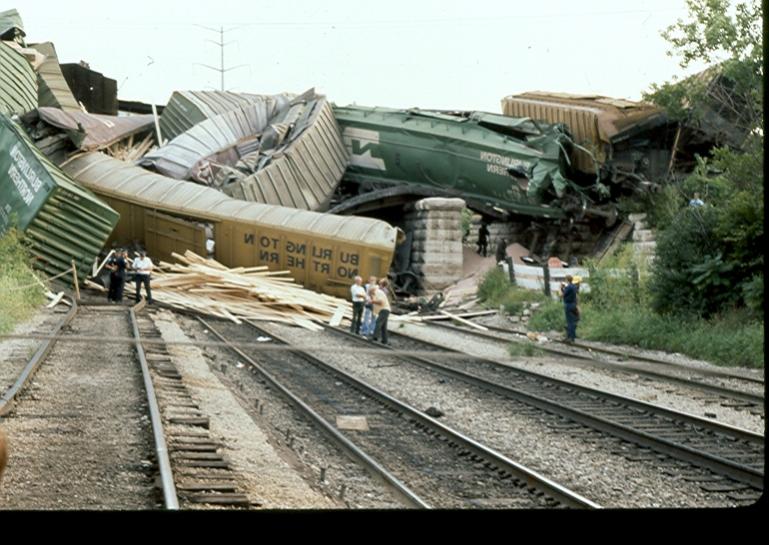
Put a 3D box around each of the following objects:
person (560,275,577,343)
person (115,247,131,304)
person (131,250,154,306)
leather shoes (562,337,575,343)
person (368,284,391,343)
[{"bbox_3d":[5.359,1.075,17.061,0.486,1.909,0.950,7,7,18],"label":"person"},{"bbox_3d":[-8.763,0.173,19.710,0.322,1.666,1.172,1,8,-25],"label":"person"},{"bbox_3d":[-8.012,0.175,19.581,0.589,1.635,1.492,1,8,-23],"label":"person"},{"bbox_3d":[5.289,1.975,17.024,0.325,0.153,0.117,8,2,12],"label":"leather shoes"},{"bbox_3d":[-0.134,1.077,16.277,0.568,1.778,0.709,2,-8,39],"label":"person"}]
